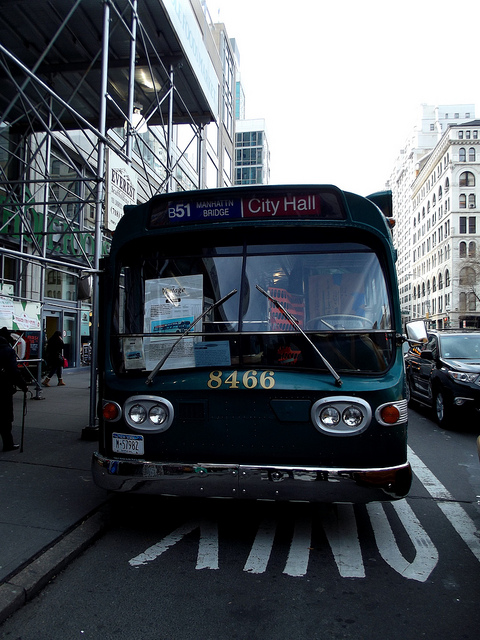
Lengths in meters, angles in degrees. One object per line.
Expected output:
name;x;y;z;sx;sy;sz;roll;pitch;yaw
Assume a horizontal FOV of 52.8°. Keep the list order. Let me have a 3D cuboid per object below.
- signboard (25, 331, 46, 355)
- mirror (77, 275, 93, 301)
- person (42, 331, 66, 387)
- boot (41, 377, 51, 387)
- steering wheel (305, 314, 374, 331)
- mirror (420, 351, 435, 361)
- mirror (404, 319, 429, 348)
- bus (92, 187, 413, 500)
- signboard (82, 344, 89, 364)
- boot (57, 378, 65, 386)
signboard;-6.338;0.702;15.015;0.391;0.767;4.835;3;-5;-21
mirror;-1.734;-0.368;5.391;0.149;0.320;0.419;3;-5;-19
person;-5.706;1.195;14.904;0.622;1.696;1.213;3;-5;-20
boot;-5.814;1.885;14.536;0.232;0.271;0.711;3;-5;-22
steering wheel;0.743;0.025;3.545;0.518;0.128;0.057;2;-5;-5
mirror;3.791;0.729;9.642;0.234;0.186;0.506;2;-4;-6
mirror;1.371;0.112;3.768;0.141;0.216;0.053;-1;-7;0
bus;0.312;0.260;4.741;1.617;1.909;3.095;-1;-5;10
signboard;-6.848;1.553;21.568;0.209;0.865;0.857;1;-4;-6
boot;-5.544;1.927;14.978;0.202;0.221;0.529;3;-5;-20
